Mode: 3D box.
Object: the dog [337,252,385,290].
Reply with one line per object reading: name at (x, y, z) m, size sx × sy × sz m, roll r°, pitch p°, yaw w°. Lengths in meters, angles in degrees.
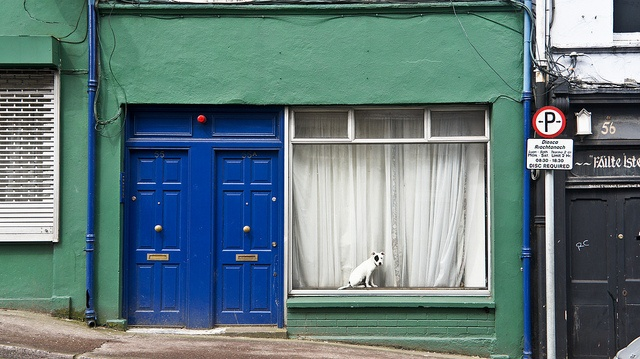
dog at (0.851, 1.932, 23.020) m, size 1.143 × 0.649 × 0.437 m, roll -5°, pitch -5°, yaw -11°
